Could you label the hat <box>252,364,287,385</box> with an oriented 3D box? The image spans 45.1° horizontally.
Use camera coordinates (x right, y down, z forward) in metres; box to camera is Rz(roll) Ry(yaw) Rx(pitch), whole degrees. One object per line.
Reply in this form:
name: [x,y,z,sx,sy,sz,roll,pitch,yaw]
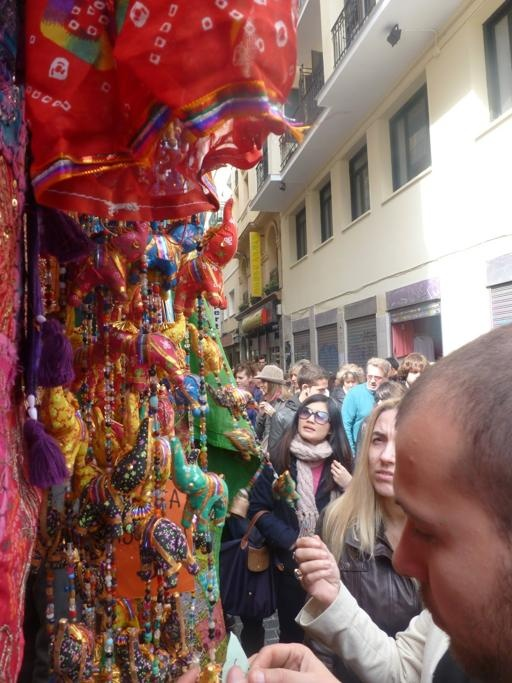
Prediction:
hat: [0.169,0.298,5.717,0.203,0.084,0.172,24,-14,-33]
